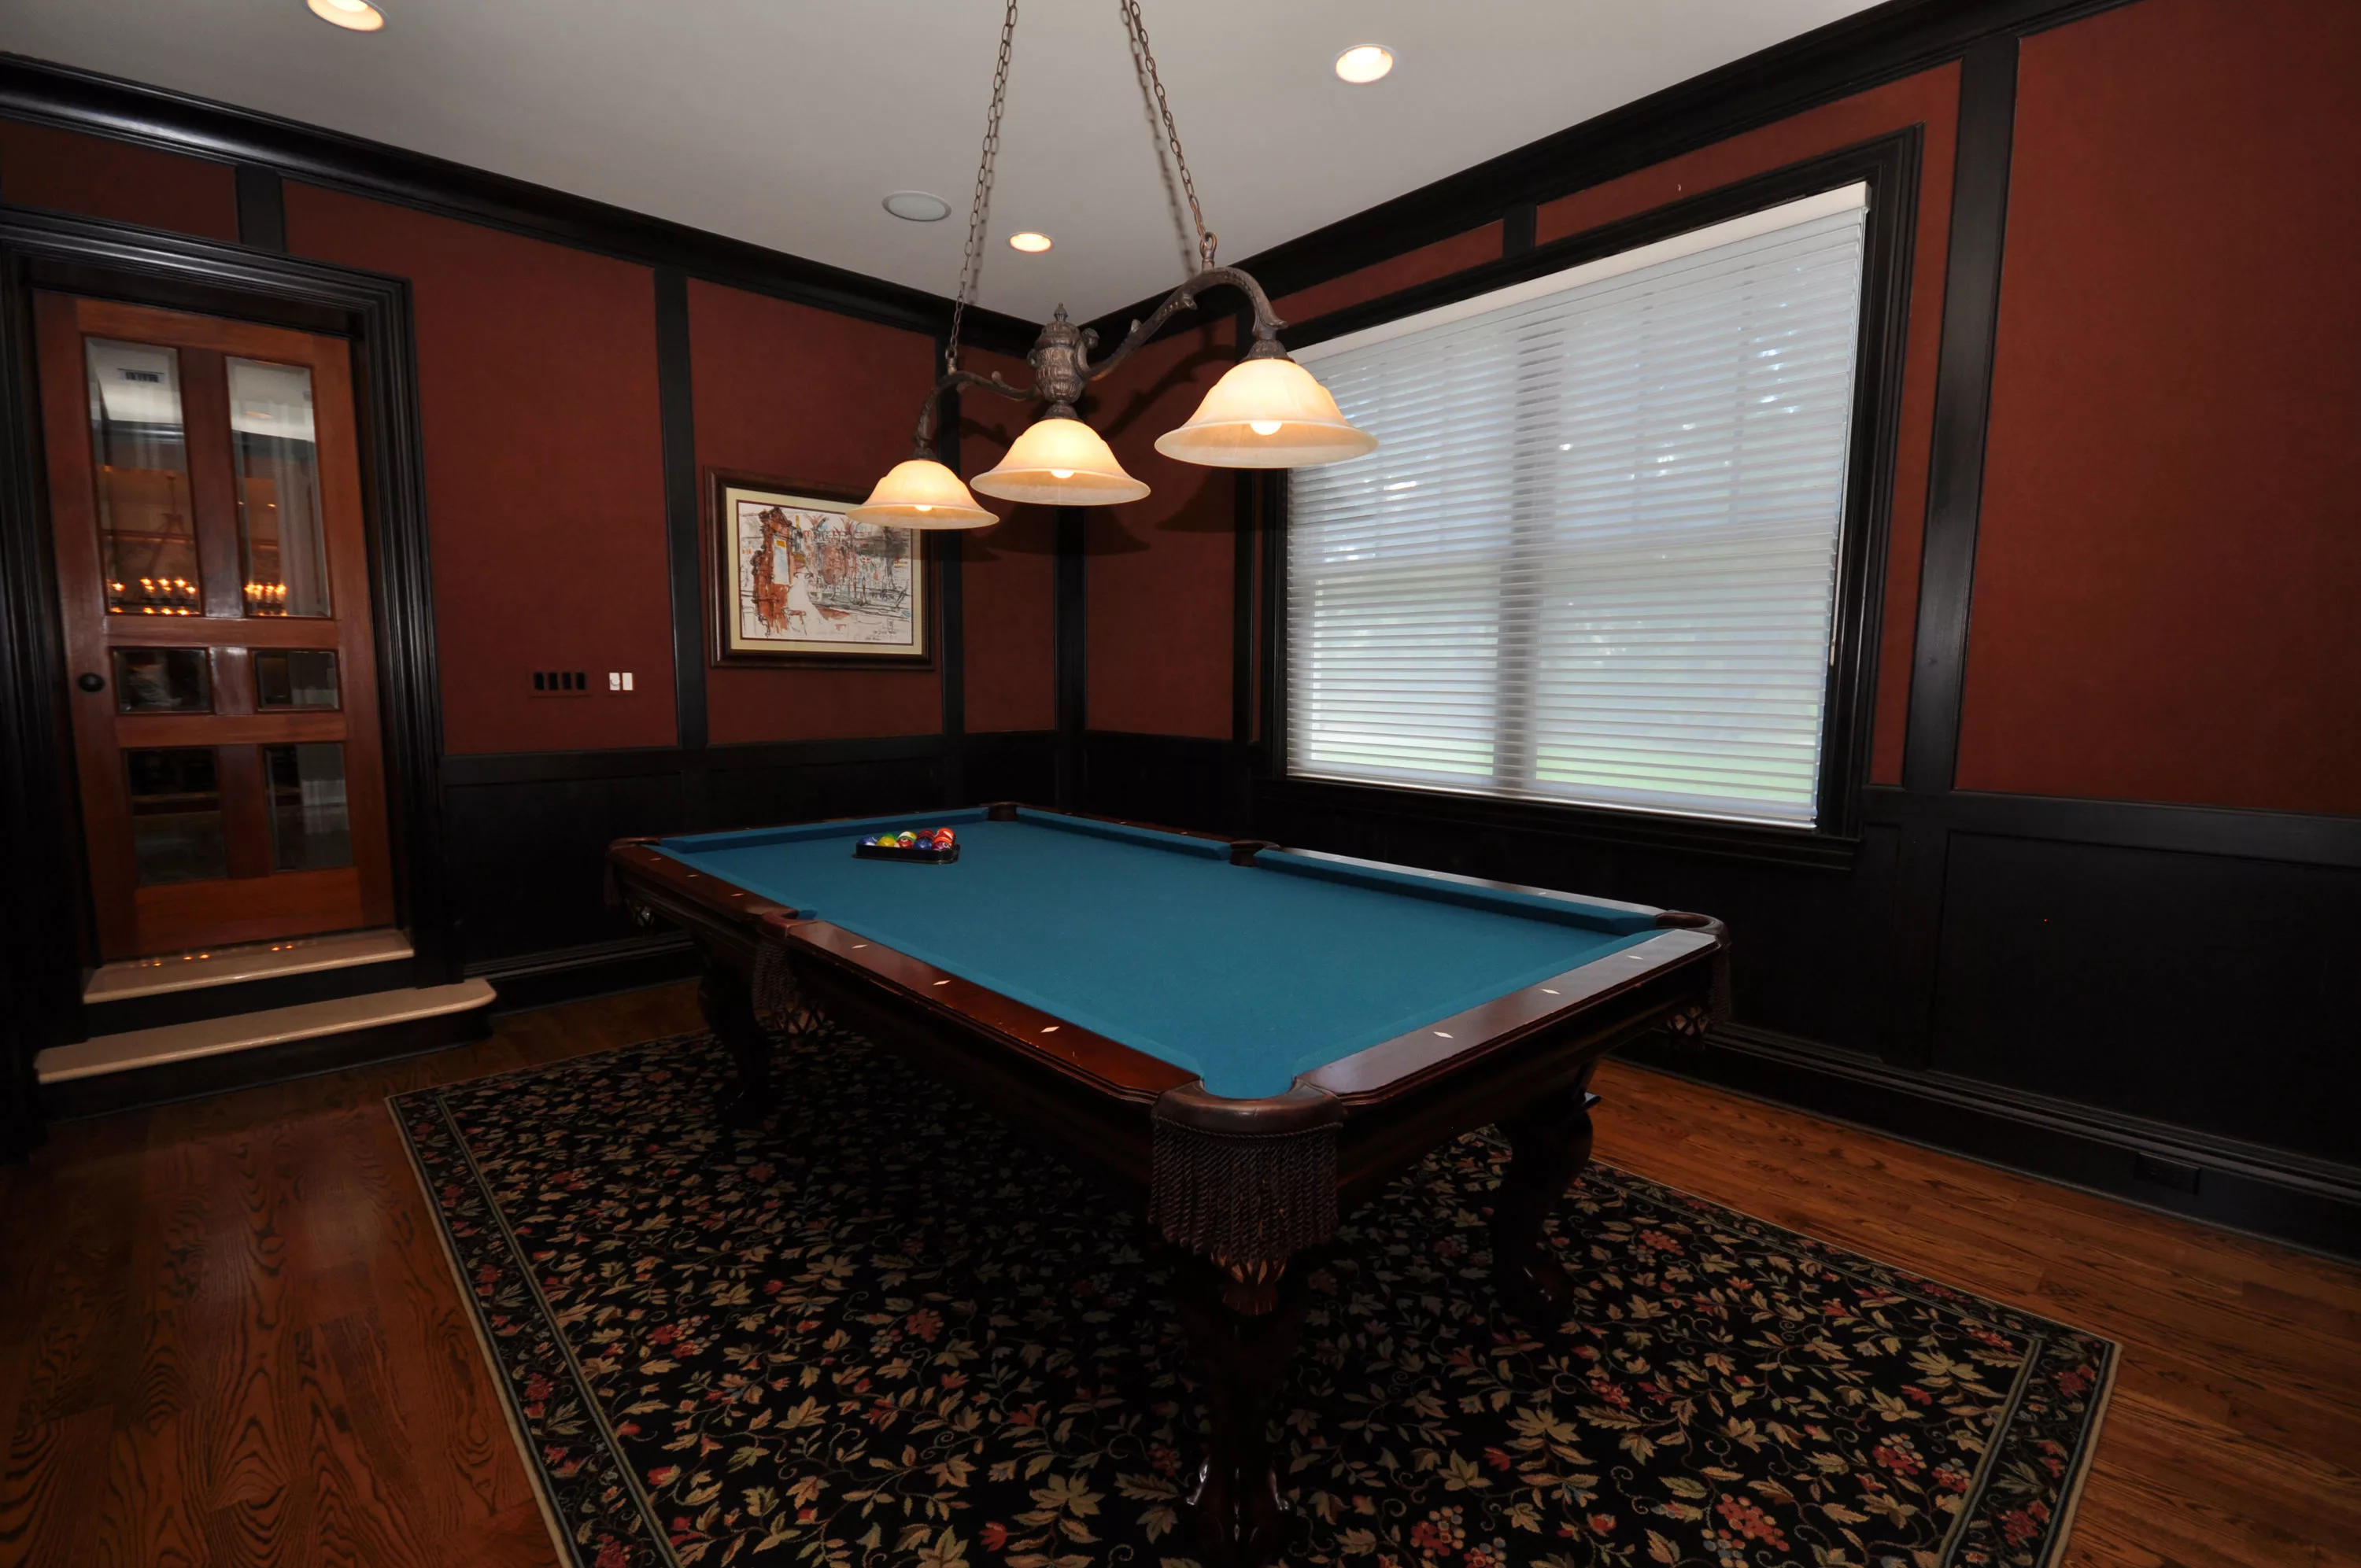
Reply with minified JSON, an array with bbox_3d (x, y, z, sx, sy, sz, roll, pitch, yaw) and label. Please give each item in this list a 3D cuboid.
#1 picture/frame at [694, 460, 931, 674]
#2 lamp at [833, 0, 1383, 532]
[{"bbox_3d":[-1.688,-0.978,6.284,1.134,0.746,0.046,0,0,-44],"label":"picture/frame"},{"bbox_3d":[-0.266,-2.007,5.376,1.708,1.574,0.452,-2,3,38],"label":"lamp"}]
